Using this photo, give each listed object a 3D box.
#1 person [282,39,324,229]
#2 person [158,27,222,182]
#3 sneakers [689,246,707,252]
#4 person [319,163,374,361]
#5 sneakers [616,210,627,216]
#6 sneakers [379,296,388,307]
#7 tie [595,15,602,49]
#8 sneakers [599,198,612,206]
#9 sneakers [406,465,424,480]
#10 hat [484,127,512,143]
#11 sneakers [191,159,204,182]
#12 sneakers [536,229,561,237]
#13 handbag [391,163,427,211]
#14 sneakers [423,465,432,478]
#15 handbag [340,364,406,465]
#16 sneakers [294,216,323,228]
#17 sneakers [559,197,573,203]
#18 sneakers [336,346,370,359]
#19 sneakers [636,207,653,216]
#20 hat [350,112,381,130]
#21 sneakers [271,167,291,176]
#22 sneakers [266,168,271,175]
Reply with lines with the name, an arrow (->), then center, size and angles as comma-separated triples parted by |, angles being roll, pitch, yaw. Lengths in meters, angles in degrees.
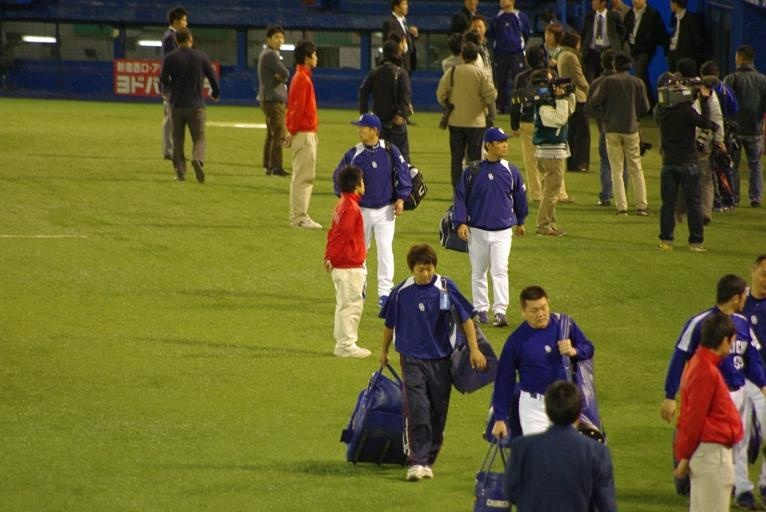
person -> -1.401, -2.119, 27.523 | 0.633, 3.228, 0.899 | 2, 5, -3
person -> -3.687, -2.842, 29.645 | 1.062, 2.857, 0.931 | 2, 5, -2
sneakers -> 5.382, -0.162, 26.853 | 0.263, 0.132, 0.111 | -2, 19, -5
person -> -0.523, 0.074, 22.959 | 0.690, 2.736, 0.402 | 2, 5, -3
sneakers -> 4.410, -0.829, 28.990 | 0.193, 0.099, 0.303 | 4, 6, 10
sneakers -> -0.030, 0.648, 23.808 | 0.108, 0.140, 0.329 | -2, -3, -16
tie -> 4.848, -5.044, 35.279 | 0.166, 0.669, 0.249 | 3, 6, 7
sneakers -> 4.209, -1.039, 29.764 | 0.240, 0.156, 0.389 | 3, 6, 8
sneakers -> 0.404, 2.743, 20.212 | 0.147, 0.165, 0.199 | 4, 5, 12
hat -> 1.681, -1.810, 23.701 | 0.303, 0.194, 0.237 | -1, 13, 12
sneakers -> -3.552, -1.621, 29.881 | 0.172, 0.463, 0.183 | -4, 31, 0
sneakers -> 2.923, -0.438, 27.631 | 0.434, 0.131, 0.108 | 1, 6, -16
handbag -> 0.404, -1.096, 24.571 | 0.295, 0.660, 0.887 | 4, 6, 18
sneakers -> 0.567, 2.724, 20.254 | 0.089, 0.159, 0.155 | -3, -31, 2
handbag -> -0.102, 2.096, 20.467 | 0.826, 1.213, 0.363 | 2, 5, -2
sneakers -> -1.357, -0.591, 27.757 | 0.436, 0.193, 0.223 | 1, 11, -2
sneakers -> 3.464, -1.084, 29.915 | 0.284, 0.132, 0.100 | 0, 16, -8
sneakers -> -0.459, 1.376, 23.012 | 0.378, 0.165, 0.222 | -2, 3, 1
sneakers -> 4.816, -0.844, 29.009 | 0.271, 0.149, 0.255 | 2, 6, 0
hat -> -0.273, -2.074, 24.241 | 0.417, 0.264, 0.280 | 0, 12, -11
sneakers -> -2.039, -1.689, 31.137 | 0.375, 0.278, 0.142 | -2, 24, -11
sneakers -> -2.280, -1.683, 31.062 | 0.107, 0.130, 0.114 | 3, -5, -29
